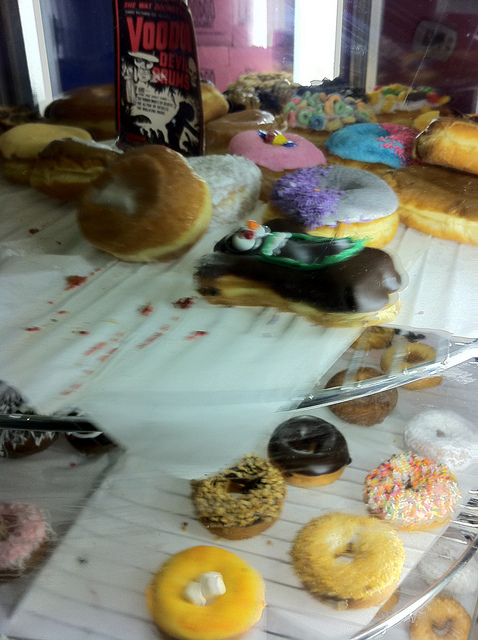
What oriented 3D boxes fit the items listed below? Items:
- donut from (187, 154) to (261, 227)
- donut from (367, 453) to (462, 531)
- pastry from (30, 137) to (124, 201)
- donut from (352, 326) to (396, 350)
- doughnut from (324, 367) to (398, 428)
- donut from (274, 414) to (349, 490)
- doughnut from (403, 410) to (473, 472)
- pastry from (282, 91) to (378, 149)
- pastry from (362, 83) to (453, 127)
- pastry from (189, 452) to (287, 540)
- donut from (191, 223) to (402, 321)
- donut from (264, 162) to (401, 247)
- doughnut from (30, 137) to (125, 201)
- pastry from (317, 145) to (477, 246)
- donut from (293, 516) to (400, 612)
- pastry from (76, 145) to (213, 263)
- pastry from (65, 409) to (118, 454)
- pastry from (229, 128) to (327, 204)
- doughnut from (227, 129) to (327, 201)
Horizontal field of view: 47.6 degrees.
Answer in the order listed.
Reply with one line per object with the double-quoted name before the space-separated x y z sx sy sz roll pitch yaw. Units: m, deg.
"donut" -0.006 -0.137 0.613 0.107 0.030 0.093 4 38 1
"donut" 0.140 0.136 0.427 0.080 0.024 0.072 -10 18 -1
"pastry" -0.203 -0.204 0.718 0.119 0.058 0.107 10 17 7
"donut" 0.102 0.014 0.410 0.020 0.006 0.026 10 31 21
"doughnut" 0.095 0.052 0.403 0.054 0.043 0.023 -3 5 -3
"donut" 0.055 0.101 0.424 0.068 0.023 0.066 -3 26 -16
"doughnut" 0.154 0.095 0.421 0.060 0.052 0.022 -8 32 -13
"pastry" 0.116 -0.257 0.692 0.103 0.027 0.088 10 36 27
"pastry" 0.220 -0.278 0.712 0.115 0.029 0.091 3 -4 23
"pastry" -0.002 0.123 0.442 0.088 0.025 0.080 -5 25 -2
"donut" 0.049 -0.040 0.454 0.150 0.049 0.086 9 36 20
"donut" 0.092 -0.102 0.543 0.121 0.039 0.103 -18 36 -31
"doughnut" -0.180 -0.205 0.726 0.153 0.069 0.135 -3 16 -11
"pastry" 0.176 -0.120 0.577 0.162 0.035 0.112 -2 25 -36
"donut" 0.088 0.191 0.445 0.091 0.030 0.081 -4 29 7
"pastry" -0.087 -0.110 0.587 0.150 0.060 0.123 2 57 15
"pastry" -0.101 0.076 0.376 0.036 0.030 0.008 2 55 27
"pastry" 0.032 -0.183 0.674 0.124 0.042 0.117 -12 35 -33
"doughnut" 0.037 -0.194 0.671 0.124 0.042 0.115 -12 36 -28
